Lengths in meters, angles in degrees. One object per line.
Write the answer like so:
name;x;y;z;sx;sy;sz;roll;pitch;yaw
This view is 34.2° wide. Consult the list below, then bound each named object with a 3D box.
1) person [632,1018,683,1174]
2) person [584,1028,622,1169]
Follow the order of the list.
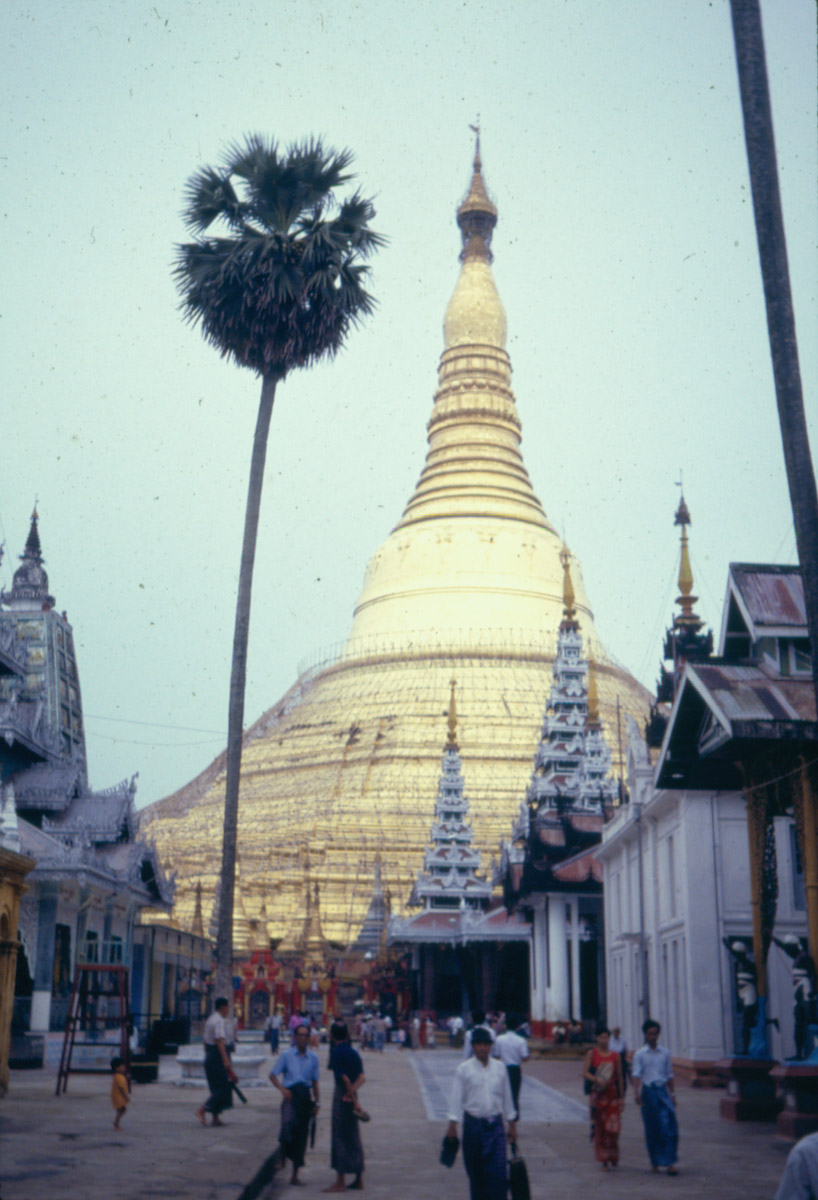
person;1.855;3.745;10.002;0.317;1.054;0.926;-2;-17;10
person;1.511;3.905;10.240;0.278;0.908;0.792;-2;-17;8
